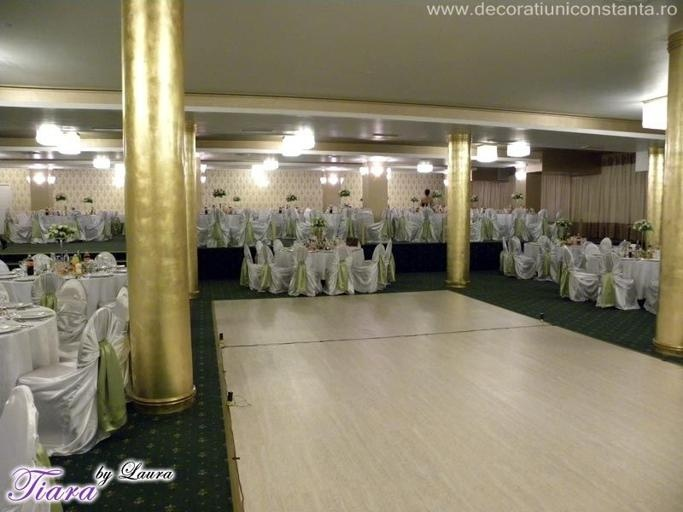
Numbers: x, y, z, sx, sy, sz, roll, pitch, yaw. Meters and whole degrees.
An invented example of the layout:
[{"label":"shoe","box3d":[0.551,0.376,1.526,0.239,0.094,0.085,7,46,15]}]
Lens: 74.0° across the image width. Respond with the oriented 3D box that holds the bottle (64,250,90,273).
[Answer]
[{"label":"bottle","box3d":[-3.993,0.094,6.824,0.368,0.197,0.360,-3,-1,0]}]
